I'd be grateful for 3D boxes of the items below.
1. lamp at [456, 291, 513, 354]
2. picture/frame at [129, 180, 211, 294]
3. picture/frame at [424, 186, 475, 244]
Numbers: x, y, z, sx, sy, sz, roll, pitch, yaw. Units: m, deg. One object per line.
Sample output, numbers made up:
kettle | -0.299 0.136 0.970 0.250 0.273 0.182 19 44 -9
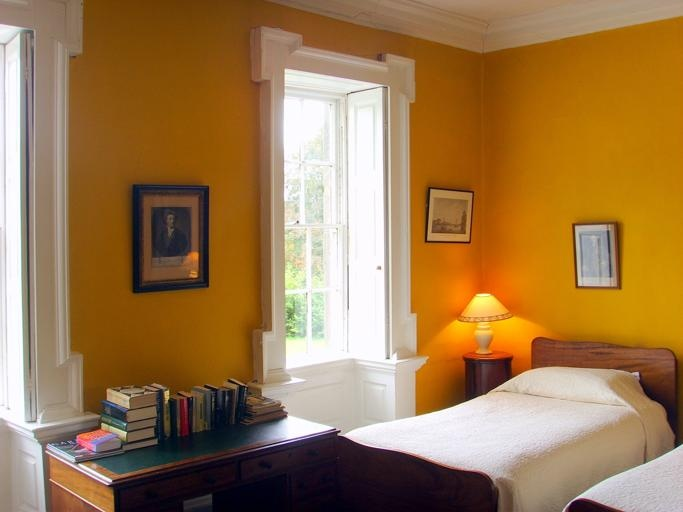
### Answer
lamp | 1.341 0.642 5.483 0.501 0.568 0.521 -3 -4 34
picture/frame | -1.162 -0.126 3.864 0.725 1.000 0.102 -2 2 -38
picture/frame | 1.009 -0.362 5.433 0.581 0.513 0.027 1 4 -33
